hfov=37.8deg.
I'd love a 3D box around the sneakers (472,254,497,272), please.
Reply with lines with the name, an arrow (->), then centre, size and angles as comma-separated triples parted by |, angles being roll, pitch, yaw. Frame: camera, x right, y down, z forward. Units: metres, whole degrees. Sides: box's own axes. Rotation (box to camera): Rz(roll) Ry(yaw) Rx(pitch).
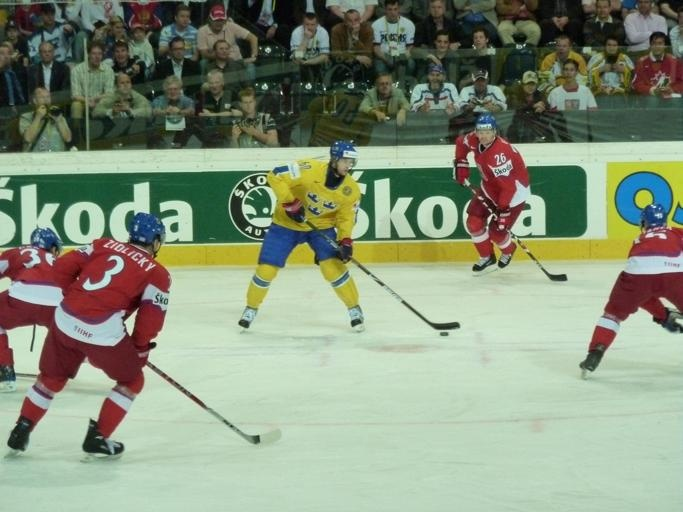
sneakers -> 1.508, 0.088, 10.590 | 0.335, 0.151, 0.111 | -18, 8, -15

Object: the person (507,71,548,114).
person -> 2.117, -1.843, 11.285 | 0.457, 0.523, 0.764 | 1, 12, -3

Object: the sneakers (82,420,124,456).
sneakers -> -1.433, 1.127, 6.079 | 0.331, 0.249, 0.126 | 6, -4, -17

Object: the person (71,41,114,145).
person -> -2.743, -1.780, 11.027 | 0.478, 1.148, 0.168 | -3, 11, -18

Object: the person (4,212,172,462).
person -> -1.493, 0.469, 6.174 | 0.878, 1.407, 0.733 | 1, 11, 0

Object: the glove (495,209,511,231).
glove -> 1.671, -0.371, 10.348 | 0.139, 0.232, 0.206 | 2, 11, 8

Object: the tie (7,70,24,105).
tie -> -3.636, -1.872, 11.110 | 0.223, 0.388, 0.121 | 0, 11, -3

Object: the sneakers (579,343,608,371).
sneakers -> 1.778, 0.727, 7.039 | 0.130, 0.062, 0.230 | 34, 68, 12

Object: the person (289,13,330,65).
person -> -0.366, -2.421, 11.573 | 0.436, 0.585, 0.825 | 0, 50, 3

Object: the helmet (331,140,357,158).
helmet -> 0.039, -0.859, 8.330 | 0.219, 0.192, 0.166 | -4, 19, -11

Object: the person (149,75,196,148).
person -> -1.893, -1.534, 11.145 | 0.507, 0.913, 0.488 | -3, 9, -13

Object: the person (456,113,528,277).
person -> 1.580, -0.644, 10.433 | 0.737, 1.668, 0.742 | -2, 11, -12

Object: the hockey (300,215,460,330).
hockey -> 0.349, 0.166, 9.718 | 1.567, 0.199, 0.172 | 35, 54, 6

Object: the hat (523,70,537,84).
hat -> 2.118, -2.007, 11.223 | 0.181, 0.135, 0.087 | 1, 11, 3

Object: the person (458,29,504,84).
person -> 1.542, -2.200, 11.337 | 0.377, 0.818, 0.594 | 0, 1, 35

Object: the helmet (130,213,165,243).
helmet -> -1.235, -0.168, 6.300 | 0.211, 0.202, 0.161 | 0, 25, -20

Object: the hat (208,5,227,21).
hat -> -1.415, -2.775, 11.385 | 0.147, 0.112, 0.206 | -2, 35, -8

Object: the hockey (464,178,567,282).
hockey -> 1.901, -0.307, 10.780 | 1.481, 0.179, 0.217 | 39, 59, 2

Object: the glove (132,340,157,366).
glove -> -1.229, 0.618, 6.232 | 0.096, 0.153, 0.159 | 18, 33, -9

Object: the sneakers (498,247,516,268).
sneakers -> 1.766, 0.018, 10.707 | 0.072, 0.215, 0.085 | 32, 14, 29

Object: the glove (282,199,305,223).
glove -> -0.385, -0.378, 8.367 | 0.184, 0.178, 0.147 | -20, 12, -18

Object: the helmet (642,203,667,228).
helmet -> 2.303, -0.285, 7.378 | 0.145, 0.179, 0.190 | 0, 6, 9

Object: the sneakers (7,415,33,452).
sneakers -> -1.900, 1.077, 5.942 | 0.104, 0.099, 0.247 | -35, 17, 15

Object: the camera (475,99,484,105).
camera -> 1.551, -1.724, 11.184 | 0.043, 0.059, 0.062 | 6, 11, 28

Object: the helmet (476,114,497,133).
helmet -> 1.443, -1.357, 10.043 | 0.185, 0.220, 0.252 | -3, -2, 3

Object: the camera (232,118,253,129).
camera -> -1.088, -1.484, 11.159 | 0.269, 0.115, 0.091 | -5, 44, 5

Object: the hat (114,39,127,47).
hat -> -2.460, -2.373, 11.132 | 0.083, 0.061, 0.085 | -1, 13, -4

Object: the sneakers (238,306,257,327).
sneakers -> -0.795, 0.523, 8.466 | 0.083, 0.117, 0.272 | 35, 5, -8

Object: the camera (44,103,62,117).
camera -> -3.168, -1.614, 11.025 | 0.185, 0.126, 0.044 | 4, 11, 19

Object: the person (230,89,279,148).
person -> -0.976, -1.565, 11.128 | 0.499, 0.743, 0.388 | -2, 24, 4

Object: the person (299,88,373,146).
person -> -0.080, -1.577, 11.093 | 0.729, 0.696, 0.402 | 16, 21, -6

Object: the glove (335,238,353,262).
glove -> 0.033, -0.046, 8.371 | 0.127, 0.176, 0.070 | 2, -22, 38

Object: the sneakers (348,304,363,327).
sneakers -> 0.123, 0.511, 8.437 | 0.121, 0.190, 0.201 | 1, 11, 1
